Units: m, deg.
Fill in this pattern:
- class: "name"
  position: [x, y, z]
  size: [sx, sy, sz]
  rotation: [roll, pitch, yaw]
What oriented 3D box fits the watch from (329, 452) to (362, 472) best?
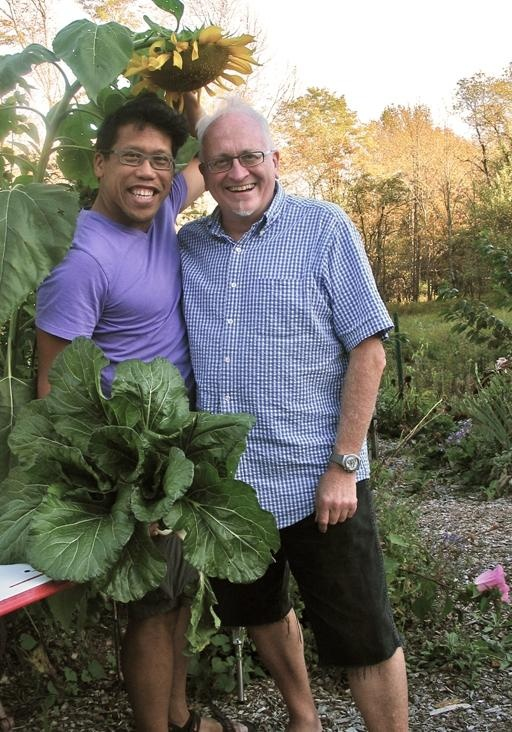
- class: "watch"
  position: [0.232, 0.247, 1.544]
  size: [0.068, 0.040, 0.060]
  rotation: [6, -2, 15]
